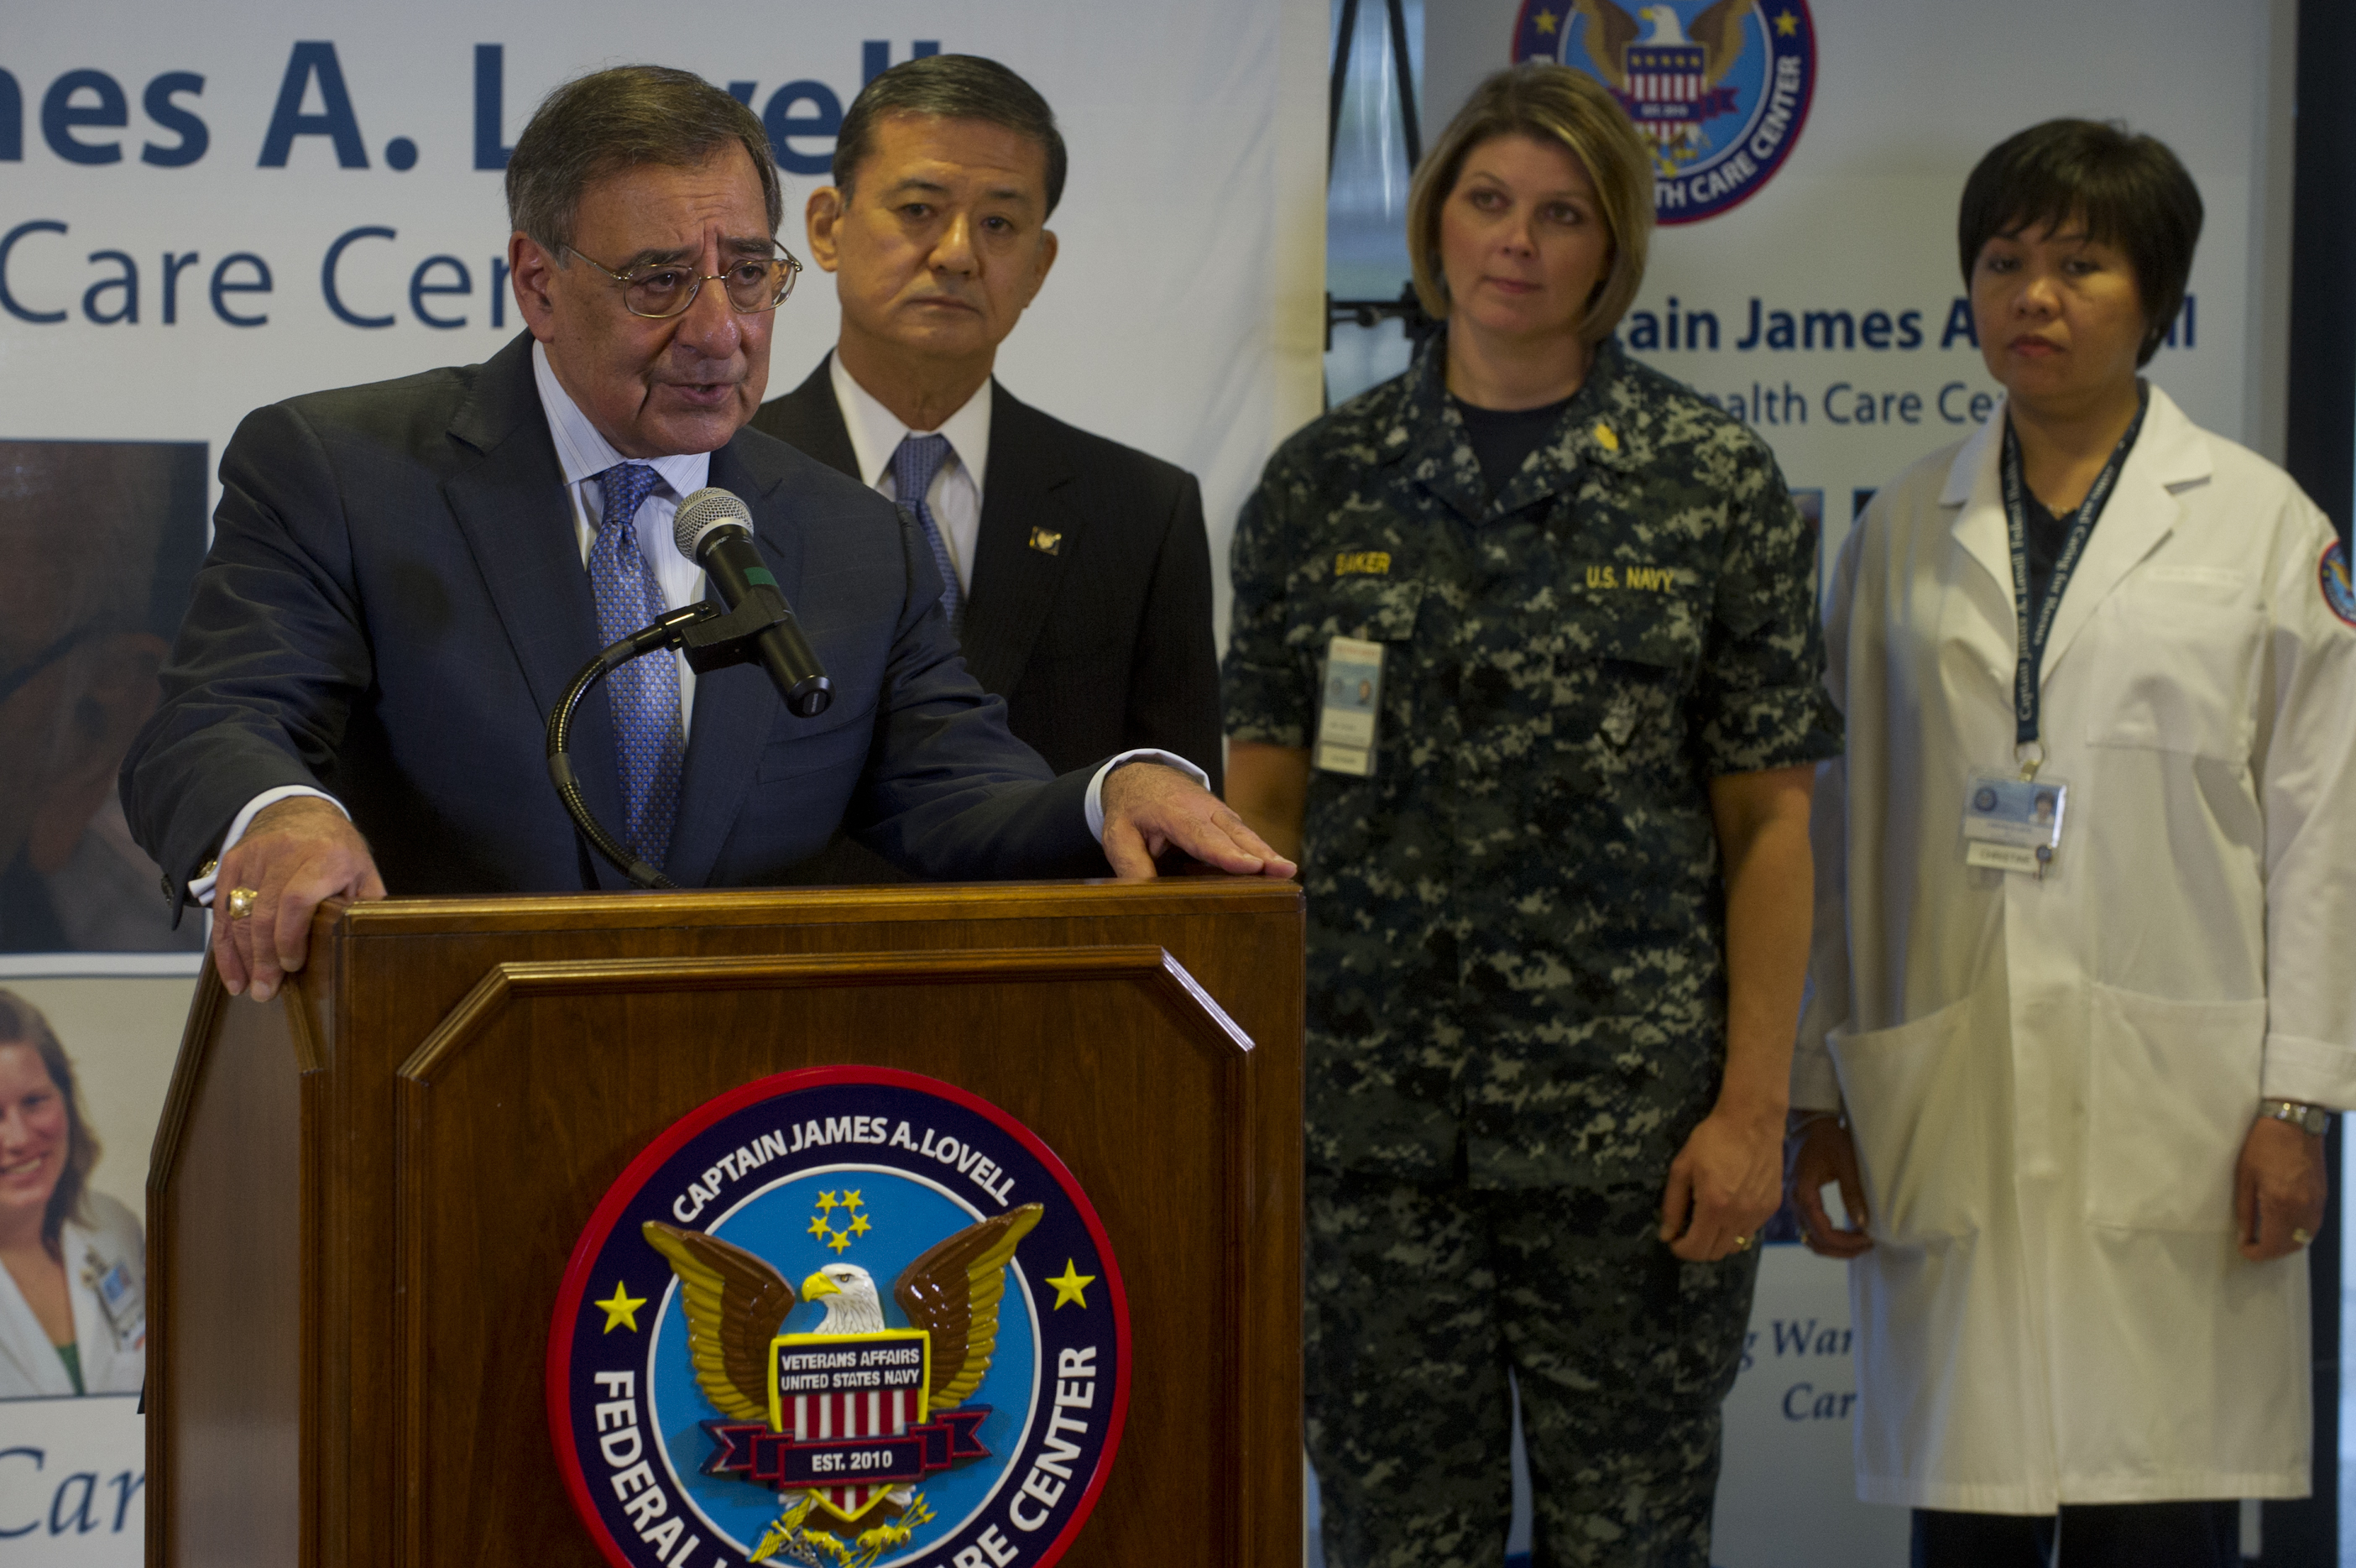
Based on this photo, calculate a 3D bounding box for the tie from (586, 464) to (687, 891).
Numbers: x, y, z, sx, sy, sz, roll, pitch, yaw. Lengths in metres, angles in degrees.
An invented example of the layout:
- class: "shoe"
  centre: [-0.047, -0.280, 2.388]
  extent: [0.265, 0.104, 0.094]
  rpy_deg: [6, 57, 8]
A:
- class: "tie"
  centre: [-0.707, -0.173, 3.701]
  extent: [0.118, 0.642, 0.124]
  rpy_deg: [3, -31, -15]

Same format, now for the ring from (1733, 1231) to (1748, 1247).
- class: "ring"
  centre: [0.842, 0.665, 4.170]
  extent: [0.018, 0.021, 0.020]
  rpy_deg: [0, -1, 0]

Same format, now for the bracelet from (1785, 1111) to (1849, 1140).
- class: "bracelet"
  centre: [1.049, 0.546, 4.587]
  extent: [0.059, 0.043, 0.047]
  rpy_deg: [0, -6, 7]

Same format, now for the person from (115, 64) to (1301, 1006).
- class: "person"
  centre: [-0.708, -0.408, 3.587]
  extent: [1.207, 1.079, 0.671]
  rpy_deg: [-1, -3, -20]

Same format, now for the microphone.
- class: "microphone"
  centre: [-0.506, -0.222, 3.411]
  extent: [0.129, 0.331, 0.106]
  rpy_deg: [-20, -31, -16]

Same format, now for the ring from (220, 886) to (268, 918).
- class: "ring"
  centre: [-1.035, 0.125, 3.129]
  extent: [0.041, 0.033, 0.026]
  rpy_deg: [-2, -2, 2]
